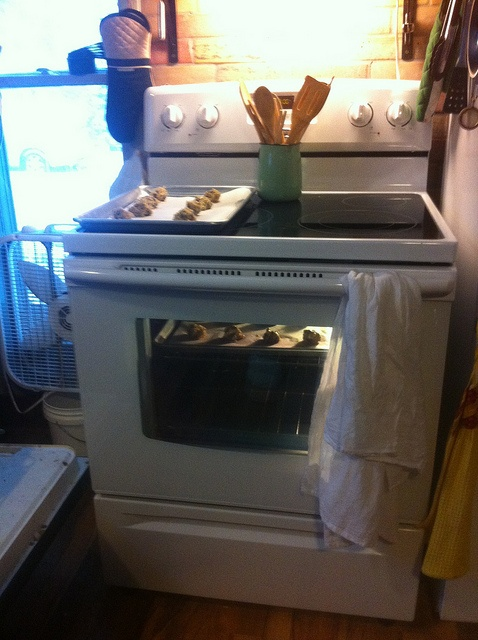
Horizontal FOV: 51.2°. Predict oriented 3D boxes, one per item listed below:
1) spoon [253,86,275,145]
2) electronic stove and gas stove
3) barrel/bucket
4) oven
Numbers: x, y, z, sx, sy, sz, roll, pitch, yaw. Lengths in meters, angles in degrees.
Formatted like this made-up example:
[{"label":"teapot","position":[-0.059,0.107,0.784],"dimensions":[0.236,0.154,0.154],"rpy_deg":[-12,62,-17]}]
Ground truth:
[{"label":"spoon","position":[0.041,-0.418,1.016],"dimensions":[0.025,0.126,0.017],"rpy_deg":[-1,49,7]},{"label":"electronic stove and gas stove","position":[0.062,-0.222,1.019],"dimensions":[0.643,0.071,0.534],"rpy_deg":[7,28,12]},{"label":"barrel/bucket","position":[-0.517,0.313,1.591],"dimensions":[0.165,0.189,0.193],"rpy_deg":[-5,17,-17]},{"label":"oven","position":[-0.002,0.229,1.145],"dimensions":[0.638,0.654,0.472],"rpy_deg":[2,0,-9]}]
